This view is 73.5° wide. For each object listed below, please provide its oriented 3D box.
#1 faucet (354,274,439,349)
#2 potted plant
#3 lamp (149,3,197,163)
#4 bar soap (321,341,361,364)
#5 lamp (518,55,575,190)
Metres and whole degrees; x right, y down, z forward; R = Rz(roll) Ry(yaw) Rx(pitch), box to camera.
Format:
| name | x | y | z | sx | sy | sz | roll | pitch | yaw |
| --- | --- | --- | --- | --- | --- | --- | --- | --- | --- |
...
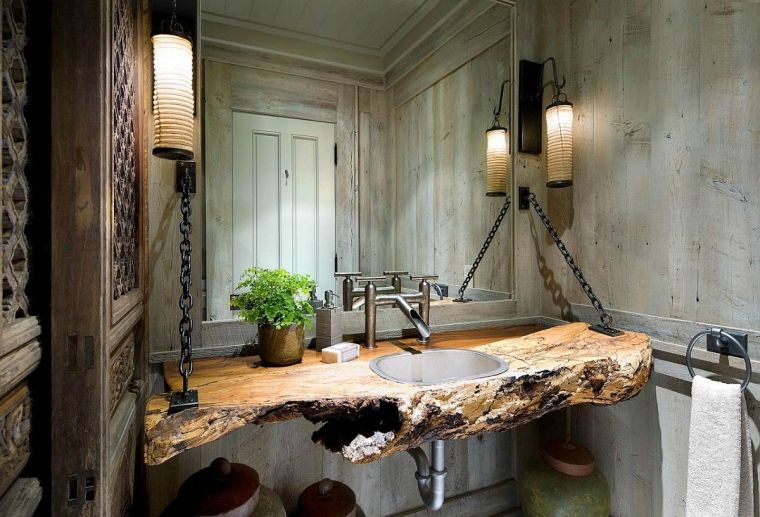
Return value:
| name | x | y | z | sx | sy | sz | roll | pitch | yaw |
| --- | --- | --- | --- | --- | --- | --- | --- | --- | --- |
| faucet | 0.126 | 0.248 | 2.275 | 0.381 | 0.280 | 0.468 | -4 | 6 | -30 |
| potted plant | -0.455 | 0.226 | 2.103 | 0.310 | 0.368 | 0.319 | -3 | 5 | -18 |
| lamp | -0.799 | -0.612 | 1.937 | 0.153 | 0.462 | 0.157 | -2 | 5 | -15 |
| bar soap | -0.162 | 0.380 | 2.085 | 0.100 | 0.054 | 0.170 | 2 | 6 | 33 |
| lamp | 0.875 | -0.714 | 2.650 | 0.284 | 0.685 | 0.222 | 3 | 6 | 38 |
